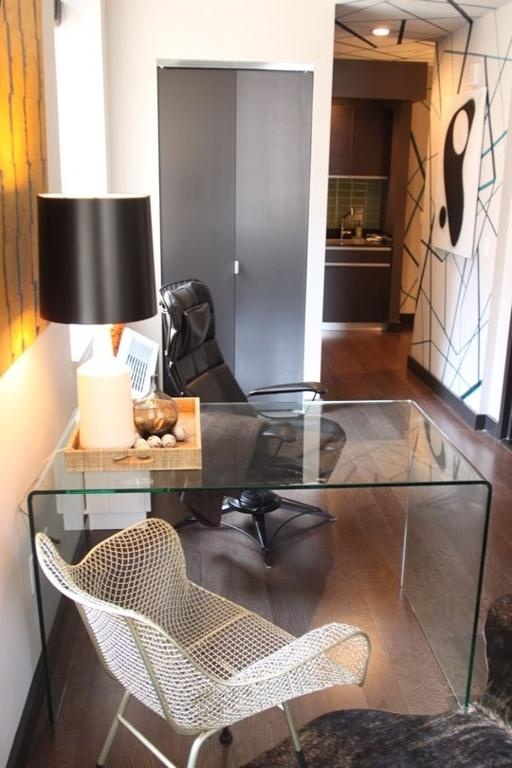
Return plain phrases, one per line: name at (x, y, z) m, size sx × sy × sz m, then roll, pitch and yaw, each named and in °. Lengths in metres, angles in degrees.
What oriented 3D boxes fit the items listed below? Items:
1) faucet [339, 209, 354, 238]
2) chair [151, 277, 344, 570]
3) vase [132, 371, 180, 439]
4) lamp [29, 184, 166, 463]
faucet at (1.179, -2.097, 6.975) m, size 0.176 × 0.406 × 0.170 m, roll 1°, pitch 8°, yaw 2°
chair at (0.092, 0.129, 2.558) m, size 0.869 × 1.599 × 1.009 m, roll 2°, pitch 13°, yaw 8°
vase at (-0.268, 0.042, 1.455) m, size 0.115 × 0.210 × 0.135 m, roll -2°, pitch 9°, yaw -10°
lamp at (-0.362, -0.130, 1.245) m, size 0.233 × 0.598 × 0.273 m, roll 4°, pitch 9°, yaw 19°
